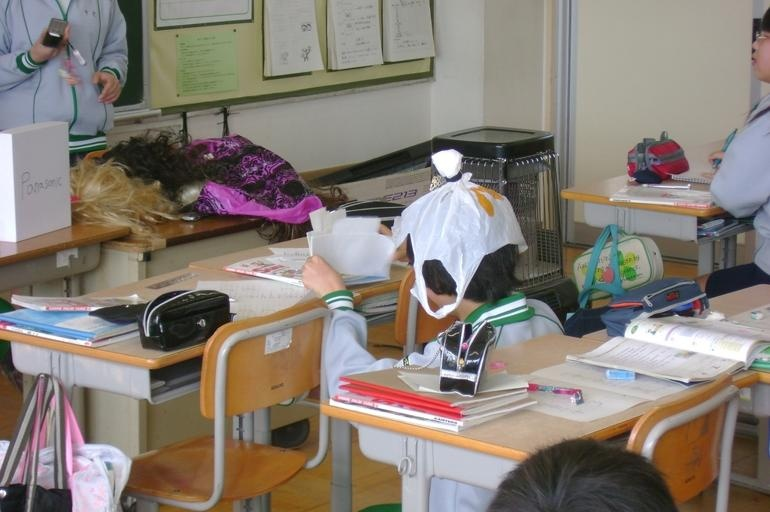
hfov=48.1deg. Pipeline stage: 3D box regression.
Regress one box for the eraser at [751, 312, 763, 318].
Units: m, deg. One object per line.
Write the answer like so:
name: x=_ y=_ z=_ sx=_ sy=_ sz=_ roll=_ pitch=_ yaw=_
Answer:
eraser: x=1.162 y=0.181 z=2.678 sx=0.021 sy=0.013 sz=0.021 roll=0 pitch=6 yaw=0

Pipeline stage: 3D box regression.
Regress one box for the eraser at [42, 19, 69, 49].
eraser: x=-1.447 y=-0.975 z=3.791 sx=0.050 sy=0.119 sz=0.106 roll=8 pitch=17 yaw=40
